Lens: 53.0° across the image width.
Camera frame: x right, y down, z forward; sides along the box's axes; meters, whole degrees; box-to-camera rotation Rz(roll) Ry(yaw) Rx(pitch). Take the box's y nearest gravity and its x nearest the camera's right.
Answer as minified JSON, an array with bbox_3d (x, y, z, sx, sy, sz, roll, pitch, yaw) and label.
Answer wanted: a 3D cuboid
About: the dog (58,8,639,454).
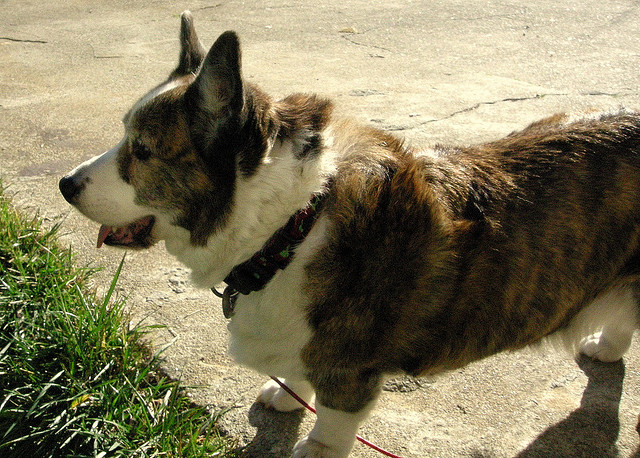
[{"bbox_3d":[0.299,0.093,3.913,3.206,2.311,1.580,11,37,10],"label":"dog"}]
